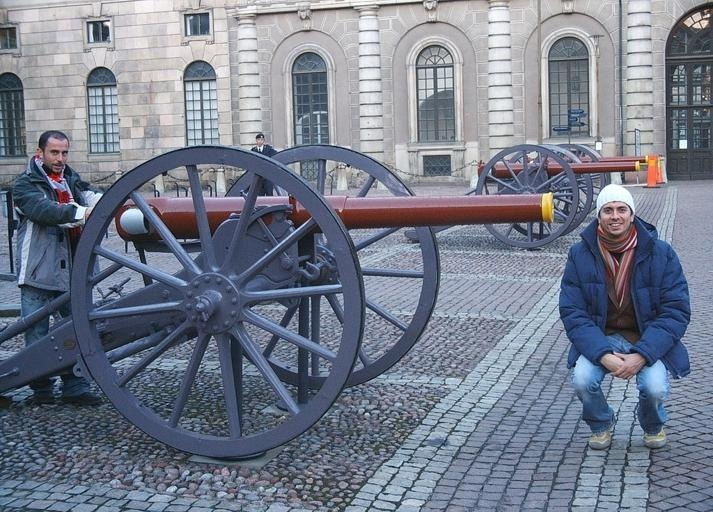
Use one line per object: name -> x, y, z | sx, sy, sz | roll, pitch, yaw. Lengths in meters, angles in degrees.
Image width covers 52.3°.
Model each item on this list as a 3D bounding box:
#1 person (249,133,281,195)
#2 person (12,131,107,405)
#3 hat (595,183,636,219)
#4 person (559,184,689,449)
person -> -1.666, -1.469, 12.637 | 0.675, 1.303, 0.377 | -5, 25, -4
person -> -2.357, 0.101, 5.795 | 0.629, 2.150, 0.957 | -5, 10, -26
hat -> 1.673, -0.354, 4.729 | 0.211, 0.209, 0.222 | 1, 7, -2
person -> 1.743, 0.416, 4.739 | 0.797, 1.737, 0.482 | 3, 10, 23
